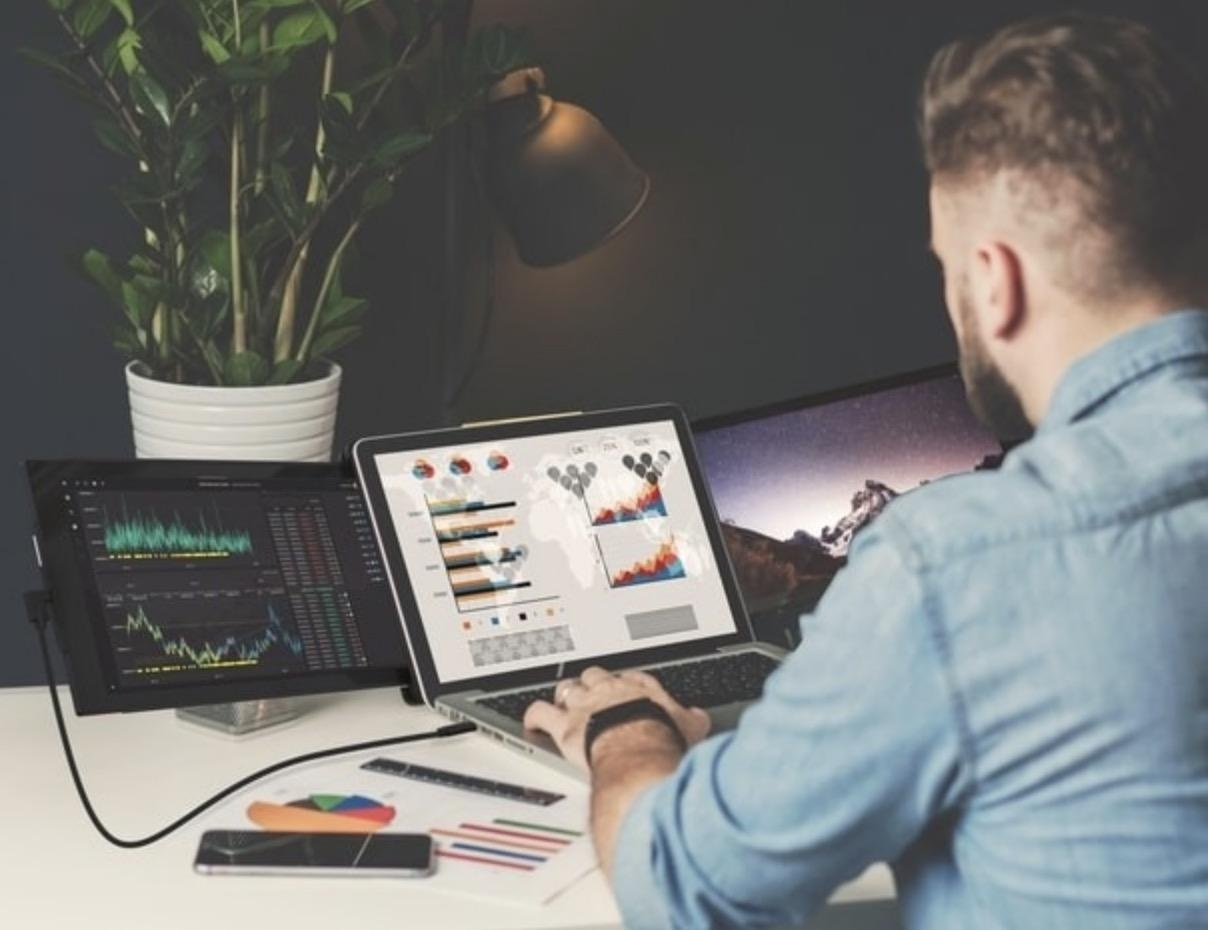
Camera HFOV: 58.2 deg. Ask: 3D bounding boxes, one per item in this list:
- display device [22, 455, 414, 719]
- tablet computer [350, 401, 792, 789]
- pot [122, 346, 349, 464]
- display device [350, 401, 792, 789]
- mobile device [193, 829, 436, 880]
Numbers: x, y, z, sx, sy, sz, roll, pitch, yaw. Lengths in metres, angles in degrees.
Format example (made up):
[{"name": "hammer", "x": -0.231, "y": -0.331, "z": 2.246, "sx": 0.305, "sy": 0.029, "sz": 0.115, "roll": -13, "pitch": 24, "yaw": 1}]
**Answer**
[{"name": "display device", "x": -0.406, "y": 0.135, "z": 1.157, "sx": 0.320, "sy": 0.226, "sz": 0.024, "roll": 1, "pitch": -28, "yaw": -34}, {"name": "tablet computer", "x": -0.056, "y": 0.100, "z": 1.286, "sx": 0.424, "sy": 0.270, "sz": 0.390, "roll": -9, "pitch": 13, "yaw": -29}, {"name": "pot", "x": -0.455, "y": -0.077, "z": 1.321, "sx": 0.171, "sy": 0.124, "sz": 0.150, "roll": 1, "pitch": 1, "yaw": 5}, {"name": "display device", "x": -0.055, "y": 0.093, "z": 1.291, "sx": 0.424, "sy": 0.270, "sz": 0.390, "roll": -9, "pitch": 13, "yaw": -29}, {"name": "mobile device", "x": -0.230, "y": 0.318, "z": 0.890, "sx": 0.136, "sy": 0.013, "sz": 0.069, "roll": 1, "pitch": 3, "yaw": 1}]
